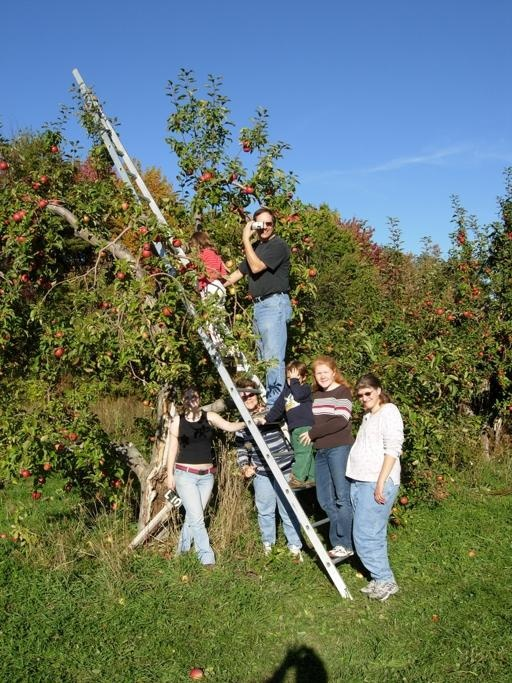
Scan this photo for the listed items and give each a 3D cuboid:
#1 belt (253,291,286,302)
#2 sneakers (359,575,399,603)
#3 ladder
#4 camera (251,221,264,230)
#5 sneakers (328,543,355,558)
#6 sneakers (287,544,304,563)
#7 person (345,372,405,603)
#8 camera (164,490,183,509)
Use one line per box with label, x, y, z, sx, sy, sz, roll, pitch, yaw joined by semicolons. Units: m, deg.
belt;0.129;-0.415;5.106;0.168;0.042;0.148;-7;-7;-19
sneakers;0.990;2.009;4.513;0.230;0.107;0.157;14;-22;-32
ladder;-0.415;0.359;5.069;0.196;5.276;0.477;-24;0;-32
camera;0.004;-0.995;4.811;0.107;0.069;0.056;1;41;1
sneakers;0.746;1.828;4.869;0.202;0.079;0.095;4;-8;-8
sneakers;0.367;1.952;5.147;0.109;0.056;0.141;-2;41;-30
person;0.959;1.180;4.536;0.337;1.800;0.532;-3;5;-41
camera;-0.725;1.436;5.004;0.061;0.228;0.172;-38;53;-15
